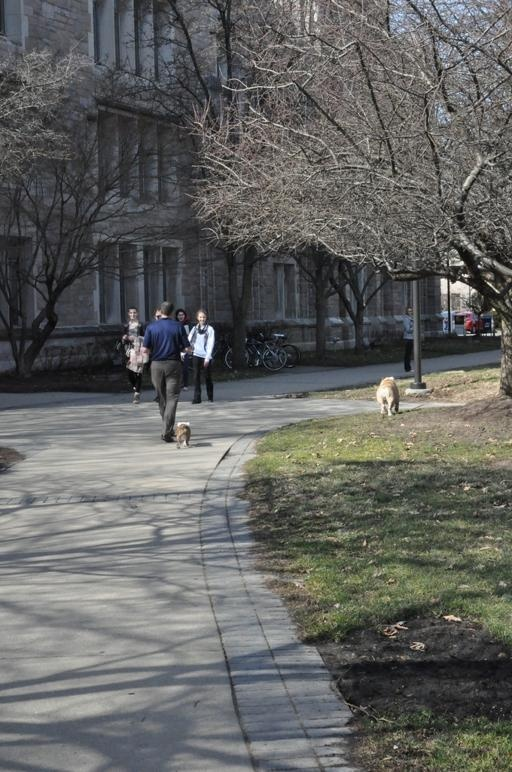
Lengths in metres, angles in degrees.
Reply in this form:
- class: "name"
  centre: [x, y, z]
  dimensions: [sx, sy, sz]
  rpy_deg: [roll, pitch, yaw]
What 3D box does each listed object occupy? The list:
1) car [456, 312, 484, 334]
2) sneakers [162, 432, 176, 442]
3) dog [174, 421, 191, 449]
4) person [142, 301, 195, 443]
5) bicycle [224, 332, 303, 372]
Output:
- class: "car"
  centre: [10.628, -3.094, 58.581]
  dimensions: [1.243, 1.101, 1.946]
  rpy_deg: [3, 9, 29]
- class: "sneakers"
  centre: [-0.985, 0.581, 13.070]
  dimensions: [0.145, 0.094, 0.194]
  rpy_deg: [-2, 3, -6]
- class: "dog"
  centre: [-0.805, 0.526, 12.690]
  dimensions: [0.148, 0.259, 0.555]
  rpy_deg: [-2, 3, -5]
- class: "person"
  centre: [-1.017, -0.165, 13.293]
  dimensions: [0.507, 1.565, 0.729]
  rpy_deg: [-2, 4, -4]
- class: "bicycle"
  centre: [0.207, -0.847, 28.263]
  dimensions: [2.019, 1.198, 0.963]
  rpy_deg: [1, -1, 5]
